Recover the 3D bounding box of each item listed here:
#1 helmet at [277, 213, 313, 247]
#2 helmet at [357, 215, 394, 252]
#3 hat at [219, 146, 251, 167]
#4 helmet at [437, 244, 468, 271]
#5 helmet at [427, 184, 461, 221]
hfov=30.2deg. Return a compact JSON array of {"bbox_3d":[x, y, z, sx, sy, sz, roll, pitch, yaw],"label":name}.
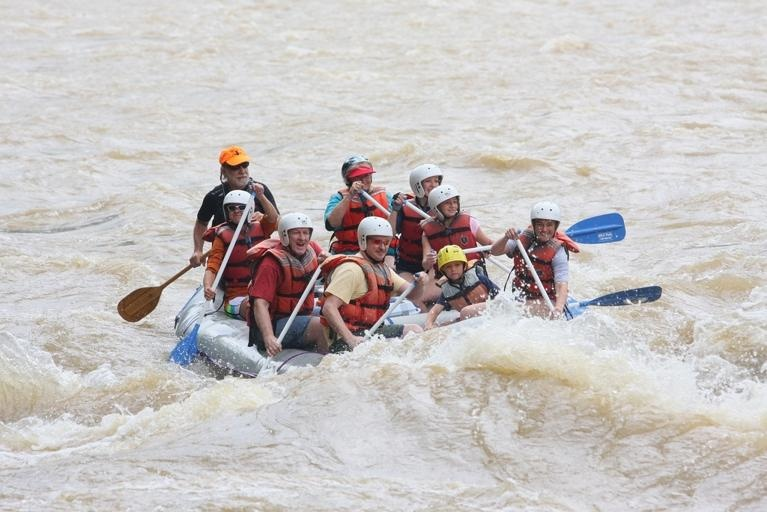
[{"bbox_3d":[-1.542,-0.455,23.817,0.636,0.410,0.569,-4,1,43],"label":"helmet"},{"bbox_3d":[-0.114,-0.411,23.694,0.546,0.483,0.638,0,13,-27],"label":"helmet"},{"bbox_3d":[-2.640,-1.749,25.148,0.444,0.266,0.335,9,34,14],"label":"hat"},{"bbox_3d":[1.155,0.059,23.786,0.409,0.483,0.334,-11,66,2],"label":"helmet"},{"bbox_3d":[1.086,-0.984,24.639,0.676,0.510,0.509,-5,4,34],"label":"helmet"}]
